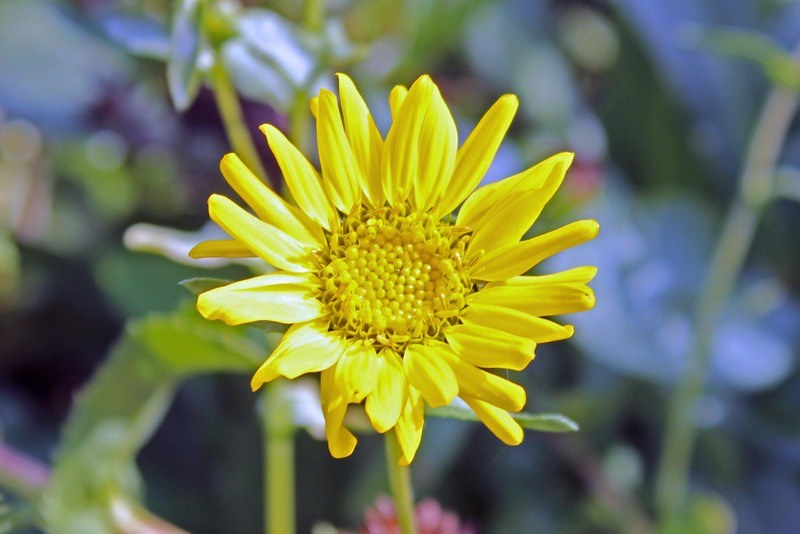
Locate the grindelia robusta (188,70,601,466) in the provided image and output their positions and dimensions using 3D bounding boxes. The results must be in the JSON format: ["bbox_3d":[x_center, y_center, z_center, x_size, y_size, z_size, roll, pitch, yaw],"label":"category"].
[{"bbox_3d":[-0.015,-0.004,1.207,0.580,0.132,0.552,7,81,0],"label":"grindelia robusta"}]
